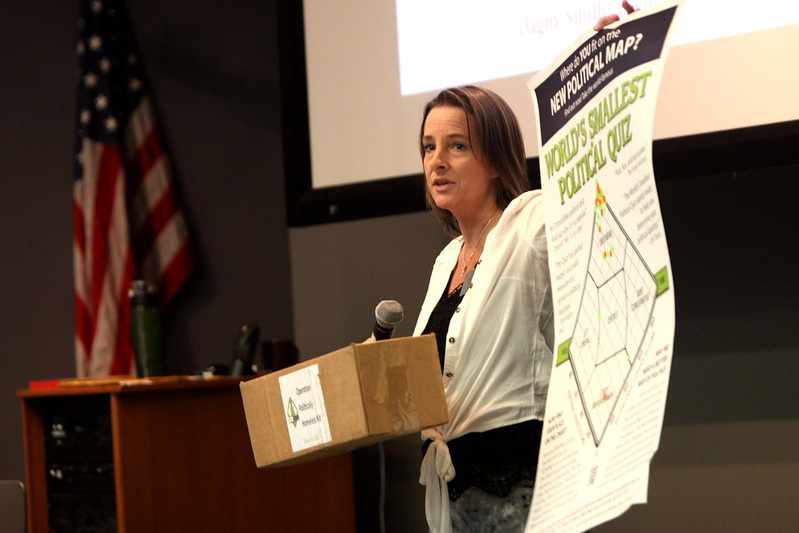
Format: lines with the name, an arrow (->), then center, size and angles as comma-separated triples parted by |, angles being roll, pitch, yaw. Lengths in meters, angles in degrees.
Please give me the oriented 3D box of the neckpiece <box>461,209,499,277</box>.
neckpiece -> 0.259, -0.086, 2.723 | 0.052, 0.240, 0.118 | 29, -16, -24
